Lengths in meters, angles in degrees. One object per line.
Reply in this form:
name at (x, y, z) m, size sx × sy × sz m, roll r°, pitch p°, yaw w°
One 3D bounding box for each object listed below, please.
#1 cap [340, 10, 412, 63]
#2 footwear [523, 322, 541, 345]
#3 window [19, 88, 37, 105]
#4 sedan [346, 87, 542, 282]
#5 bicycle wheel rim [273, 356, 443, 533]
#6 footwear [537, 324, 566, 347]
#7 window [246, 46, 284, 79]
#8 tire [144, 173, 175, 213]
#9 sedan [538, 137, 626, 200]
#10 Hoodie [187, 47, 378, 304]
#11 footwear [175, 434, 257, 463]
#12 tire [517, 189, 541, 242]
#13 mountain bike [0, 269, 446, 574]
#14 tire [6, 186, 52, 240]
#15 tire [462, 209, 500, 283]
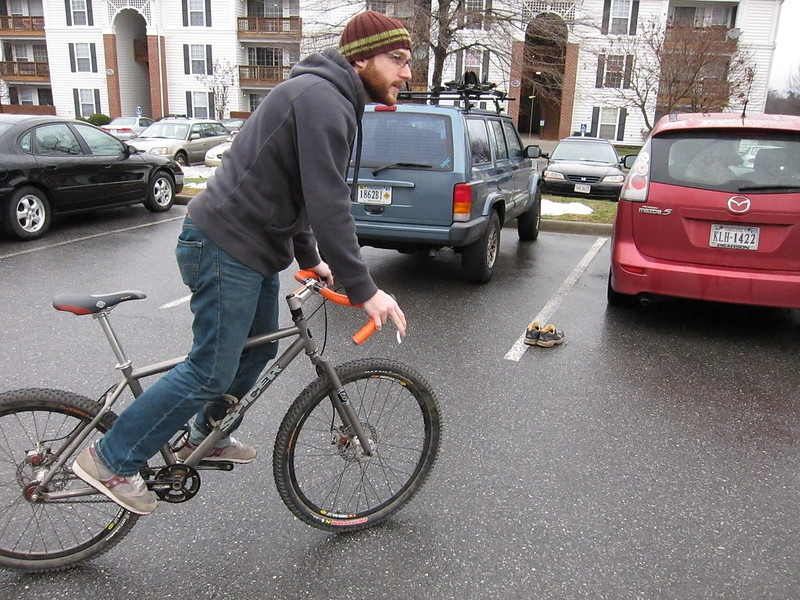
cap at (-0.120, -1.225, 2.540) m, size 0.325 × 0.232 × 0.322 m, roll -11°, pitch 14°, yaw -8°
footwear at (1.247, 0.313, 5.242) m, size 0.092 × 0.126 × 0.277 m, roll 6°, pitch 16°, yaw 18°
window at (-32.140, -17.710, 47.807) m, size 1.492 × 1.796 × 0.132 m, roll 2°, pitch 14°, yaw 2°
sedan at (0.605, -1.936, 7.822) m, size 1.991 × 2.192 × 3.709 m, roll 7°, pitch 24°, yaw 22°
bicycle wheel rim at (-0.208, 0.787, 2.872) m, size 0.756 × 0.783 × 0.200 m, roll -13°, pitch 26°, yaw -21°
footwear at (1.432, 0.318, 5.261) m, size 0.138 × 0.144 × 0.313 m, roll 10°, pitch 15°, yaw 36°
window at (-10.754, -18.899, 43.825) m, size 3.277 × 3.424 × 0.172 m, roll -1°, pitch 0°, yaw 4°
tire at (-4.935, -2.235, 11.315) m, size 0.237 × 0.719 × 0.710 m, roll 5°, pitch 7°, yaw 21°
sedan at (4.973, -3.667, 15.253) m, size 1.646 × 1.406 × 3.535 m, roll 3°, pitch 12°, yaw 15°
Hoodie at (-0.486, -0.612, 2.527) m, size 0.790 × 0.990 × 0.778 m, roll 5°, pitch 15°, yaw -23°
footwear at (-0.919, 0.759, 2.787) m, size 0.364 × 0.159 × 0.132 m, roll -3°, pitch 12°, yaw -20°
tire at (2.158, -1.466, 9.356) m, size 0.243 × 0.714 × 0.702 m, roll 2°, pitch 26°, yaw 23°
mountain bike at (-0.770, 0.461, 3.185) m, size 2.252 × 1.272 × 1.144 m, roll -4°, pitch 15°, yaw -18°
tire at (-5.781, -1.373, 8.562) m, size 0.225 × 0.720 × 0.708 m, roll 5°, pitch -14°, yaw 16°
tire at (0.983, -0.693, 6.876) m, size 0.294 × 0.912 × 0.893 m, roll 7°, pitch -1°, yaw 19°
